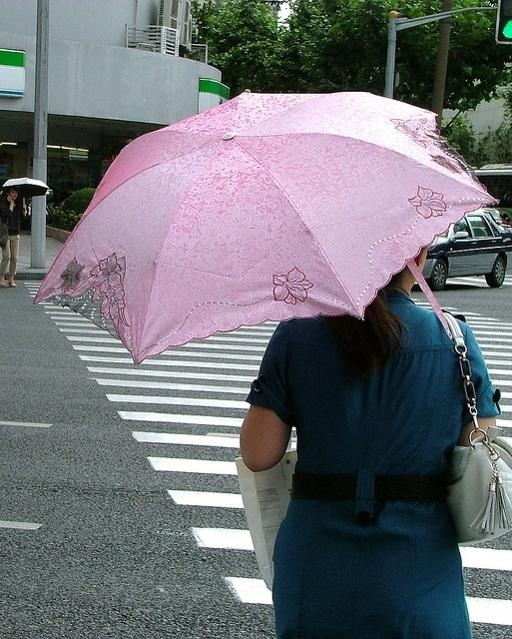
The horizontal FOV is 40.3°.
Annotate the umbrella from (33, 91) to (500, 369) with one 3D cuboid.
[{"bbox_3d":[0.019,-0.242,1.546,0.928,0.635,0.637,8,9,39],"label":"umbrella"}]
